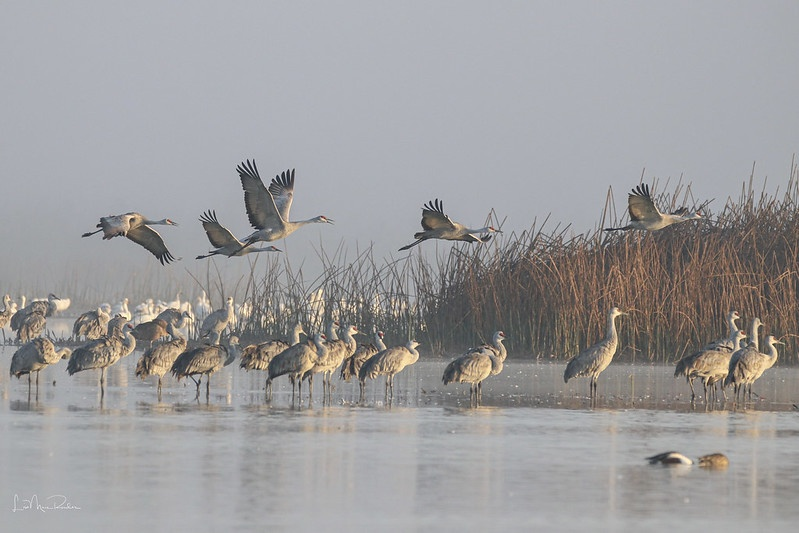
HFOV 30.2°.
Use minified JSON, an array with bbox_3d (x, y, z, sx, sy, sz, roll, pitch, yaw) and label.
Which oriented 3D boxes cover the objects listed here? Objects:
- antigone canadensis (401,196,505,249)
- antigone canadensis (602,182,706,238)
[{"bbox_3d":[1.045,-0.865,34.948,2.765,0.581,2.458,2,23,-16],"label":"antigone canadensis"},{"bbox_3d":[5.495,-1.023,31.510,1.586,0.620,1.931,-1,-10,22],"label":"antigone canadensis"}]
